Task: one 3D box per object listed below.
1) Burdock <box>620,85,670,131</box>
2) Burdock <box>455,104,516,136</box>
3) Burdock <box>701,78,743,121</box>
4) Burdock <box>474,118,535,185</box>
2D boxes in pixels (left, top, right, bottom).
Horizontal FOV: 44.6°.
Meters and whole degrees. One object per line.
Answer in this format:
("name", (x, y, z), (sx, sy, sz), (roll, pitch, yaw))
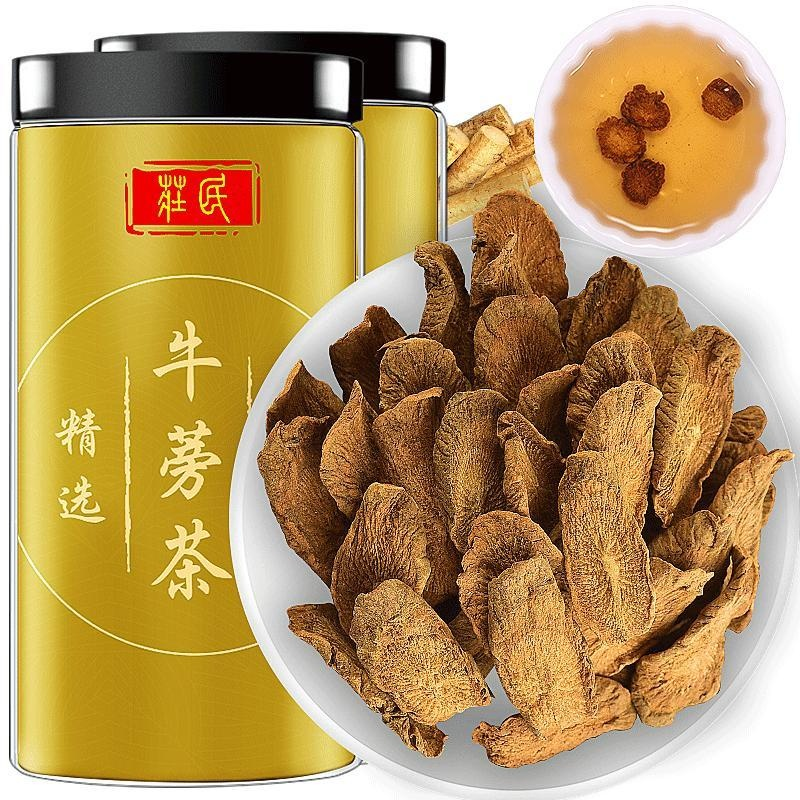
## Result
("Burdock", (0.326, -0.385, 1.281), (0.050, 0.062, 0.019), (-32, -8, 2))
("Burdock", (0.139, -0.467, 1.624), (0.098, 0.053, 0.057), (3, 16, 11))
("Burdock", (0.421, -0.395, 1.273), (0.043, 0.031, 0.024), (39, 62, 21))
("Burdock", (0.181, -0.425, 1.645), (0.079, 0.022, 0.084), (-36, -20, 17))
